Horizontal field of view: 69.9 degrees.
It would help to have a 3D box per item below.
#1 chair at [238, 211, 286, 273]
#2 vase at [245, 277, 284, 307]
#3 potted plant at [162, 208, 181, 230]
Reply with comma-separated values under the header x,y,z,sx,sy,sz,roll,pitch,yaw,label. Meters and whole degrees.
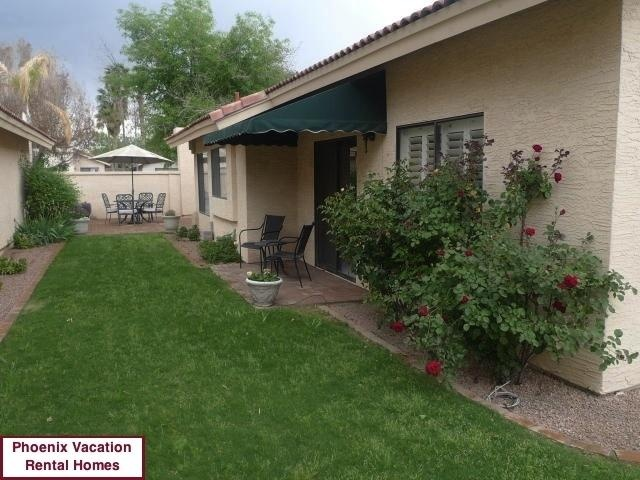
x,y,z,sx,sy,sz,roll,pitch,yaw,label
-1.209,0.068,9.820,0.784,1.065,0.714,-2,-4,26,chair
-0.862,0.800,7.132,0.445,0.315,0.455,1,-2,-1,vase
-5.127,-0.644,15.854,0.653,0.766,0.663,-1,1,-14,potted plant
